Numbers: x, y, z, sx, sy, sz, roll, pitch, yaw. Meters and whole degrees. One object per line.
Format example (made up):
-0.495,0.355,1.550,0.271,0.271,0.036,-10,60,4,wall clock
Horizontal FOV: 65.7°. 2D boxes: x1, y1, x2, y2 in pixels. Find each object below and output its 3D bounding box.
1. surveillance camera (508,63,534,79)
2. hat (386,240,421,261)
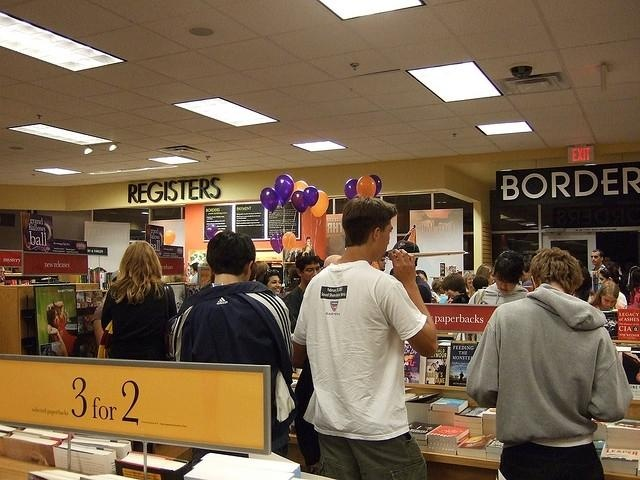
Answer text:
2.502,-2.069,6.159,0.265,0.067,0.384,-2,-4,23,surveillance camera
0.685,0.061,3.828,0.194,0.169,0.328,-1,-6,31,hat
